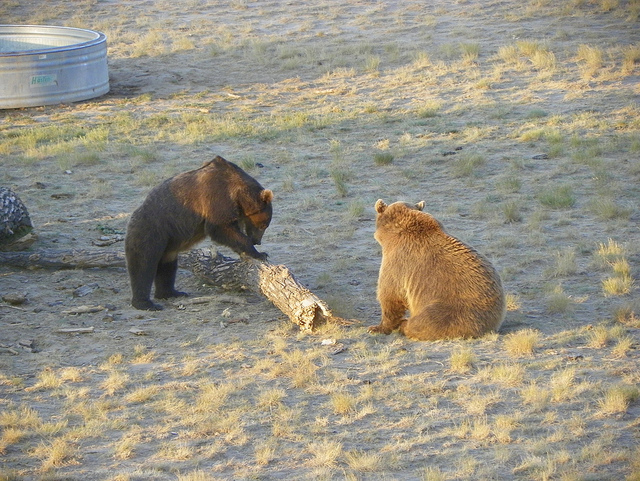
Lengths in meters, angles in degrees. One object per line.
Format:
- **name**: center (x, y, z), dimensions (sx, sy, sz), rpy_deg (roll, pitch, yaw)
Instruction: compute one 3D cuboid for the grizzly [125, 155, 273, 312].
- **grizzly**: center (-1.995, -0.109, 19.403), dimensions (2.781, 2.225, 1.208), rpy_deg (-6, 0, 15)
